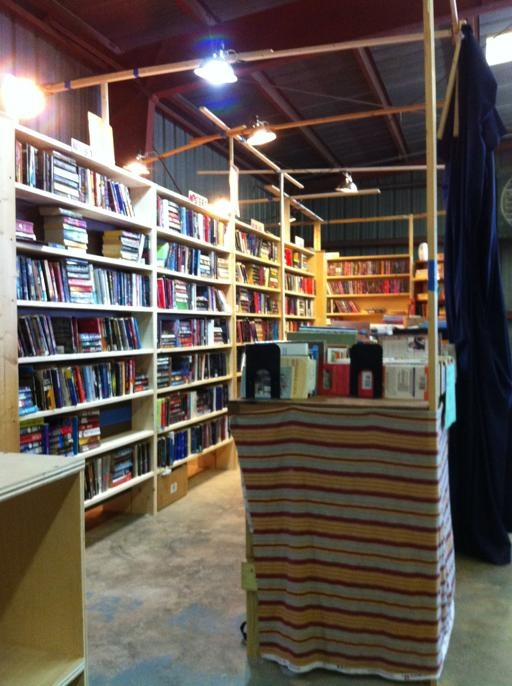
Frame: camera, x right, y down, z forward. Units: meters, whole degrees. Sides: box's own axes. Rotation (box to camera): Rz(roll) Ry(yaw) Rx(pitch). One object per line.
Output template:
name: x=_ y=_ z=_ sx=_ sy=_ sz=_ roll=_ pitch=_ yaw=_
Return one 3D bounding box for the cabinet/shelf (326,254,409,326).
cabinet/shelf: x=1.838 y=-0.876 z=9.204 sx=1.232 sy=1.300 sz=0.387 roll=0 pitch=-4 yaw=12

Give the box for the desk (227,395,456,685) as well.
desk: x=0.431 y=0.655 z=2.480 sx=0.830 sy=1.227 sz=0.848 roll=0 pitch=0 yaw=20

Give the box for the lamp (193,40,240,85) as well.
lamp: x=-0.217 y=-1.598 z=3.260 sx=0.230 sy=0.132 sz=0.317 roll=0 pitch=1 yaw=12
